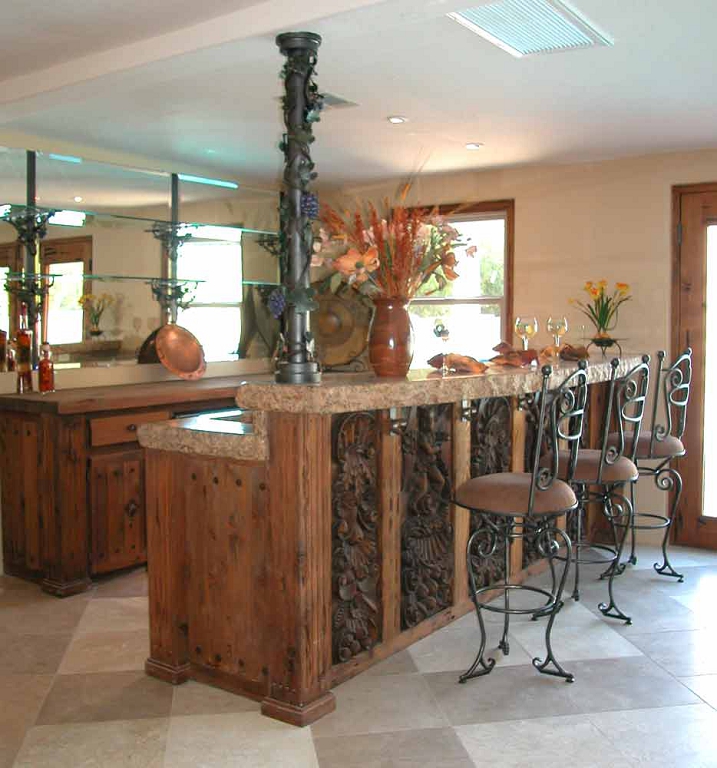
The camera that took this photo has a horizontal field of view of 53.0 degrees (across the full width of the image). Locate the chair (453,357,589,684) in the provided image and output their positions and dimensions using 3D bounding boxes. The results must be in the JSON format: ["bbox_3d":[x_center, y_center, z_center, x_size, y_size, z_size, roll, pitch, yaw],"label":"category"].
[{"bbox_3d":[0.550,0.503,2.615,0.457,1.045,0.426,0,-2,15],"label":"chair"}]

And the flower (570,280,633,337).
[{"bbox_3d":[1.466,-0.453,4.305,0.319,0.347,0.369,-5,6,-43],"label":"flower"}]

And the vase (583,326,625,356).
[{"bbox_3d":[1.458,-0.255,4.296,0.193,0.119,0.193,2,3,35],"label":"vase"}]
